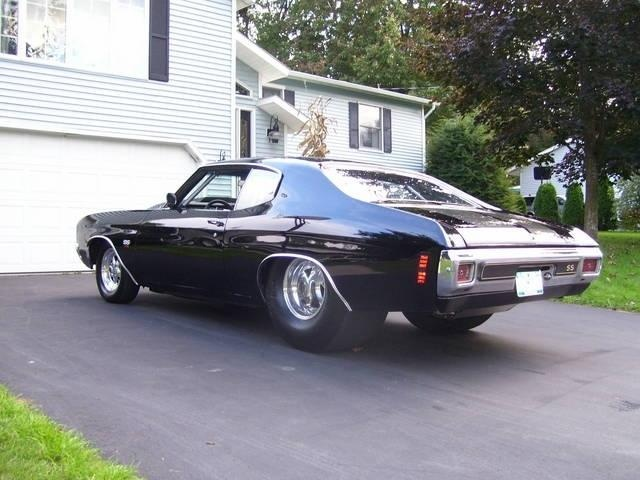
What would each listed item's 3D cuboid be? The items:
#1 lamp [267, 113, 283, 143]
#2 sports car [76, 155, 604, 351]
[{"bbox_3d":[-1.720,-4.152,16.875,0.636,0.888,0.918,1,3,-27],"label":"lamp"},{"bbox_3d":[-0.494,0.050,5.251,6.436,1.867,1.930,3,3,36],"label":"sports car"}]
